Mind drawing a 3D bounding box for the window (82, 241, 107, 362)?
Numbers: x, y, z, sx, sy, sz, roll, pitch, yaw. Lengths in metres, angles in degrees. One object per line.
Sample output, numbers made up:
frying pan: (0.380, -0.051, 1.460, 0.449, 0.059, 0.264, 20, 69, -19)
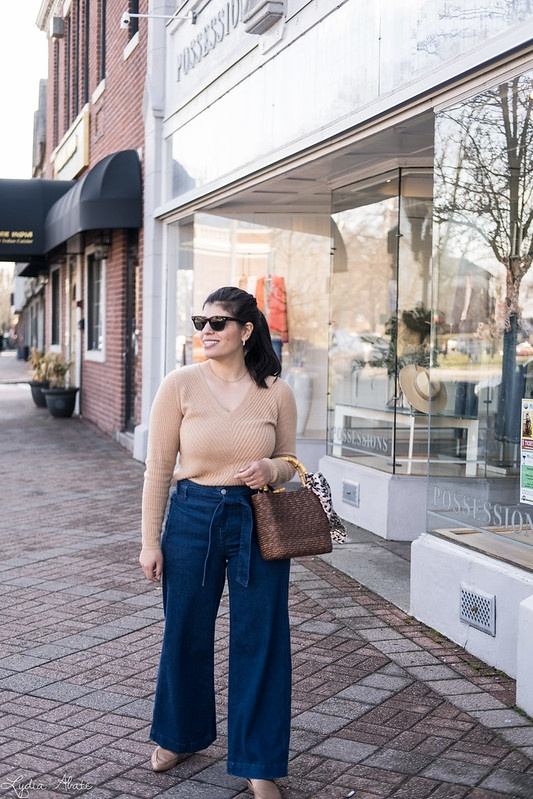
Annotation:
window: (-3.690, -2.161, 14.629, 0.154, 3.073, 2.679, -1, 7, -21)

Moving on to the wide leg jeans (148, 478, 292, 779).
wide leg jeans: (-0.120, 0.720, 2.128, 0.499, 0.933, 0.226, 5, 5, 33)

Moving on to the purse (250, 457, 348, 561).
purse: (0.066, 0.339, 2.071, 0.259, 0.312, 0.117, -2, -21, -35)
